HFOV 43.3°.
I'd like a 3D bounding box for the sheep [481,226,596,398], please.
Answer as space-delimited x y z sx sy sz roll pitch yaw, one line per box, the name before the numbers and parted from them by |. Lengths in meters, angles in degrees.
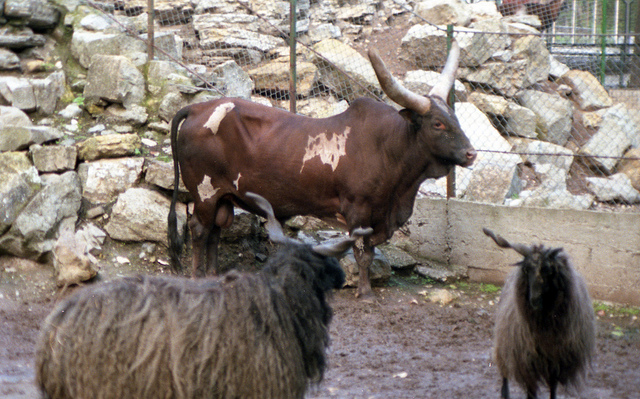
sheep | 3.150 1.764 11.329 1.346 2.223 0.628 3 13 15
